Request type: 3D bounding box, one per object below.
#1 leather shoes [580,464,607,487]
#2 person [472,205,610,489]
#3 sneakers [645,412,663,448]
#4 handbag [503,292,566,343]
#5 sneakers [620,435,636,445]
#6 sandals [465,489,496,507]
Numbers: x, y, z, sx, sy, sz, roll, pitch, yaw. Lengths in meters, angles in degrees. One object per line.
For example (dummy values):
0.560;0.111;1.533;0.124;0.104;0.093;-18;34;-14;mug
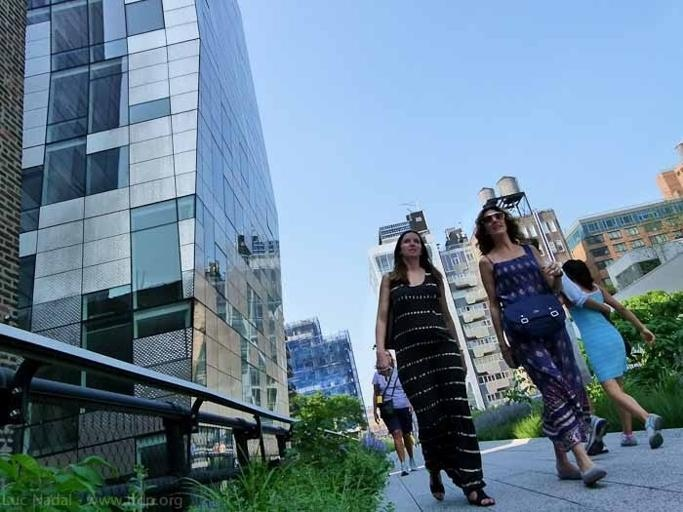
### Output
1.783;1.595;3.378;0.094;0.108;0.255;-10;-41;-13;leather shoes
1.662;0.592;3.966;0.655;2.404;0.700;-14;-20;8;person
2.855;1.593;4.332;0.149;0.364;0.154;-20;19;-29;sneakers
1.607;0.476;4.032;0.606;0.445;0.335;-7;-9;-10;handbag
2.994;1.926;4.895;0.080;0.077;0.157;-5;-12;6;sneakers
1.073;1.866;3.621;0.101;0.082;0.195;4;-18;-23;sandals
